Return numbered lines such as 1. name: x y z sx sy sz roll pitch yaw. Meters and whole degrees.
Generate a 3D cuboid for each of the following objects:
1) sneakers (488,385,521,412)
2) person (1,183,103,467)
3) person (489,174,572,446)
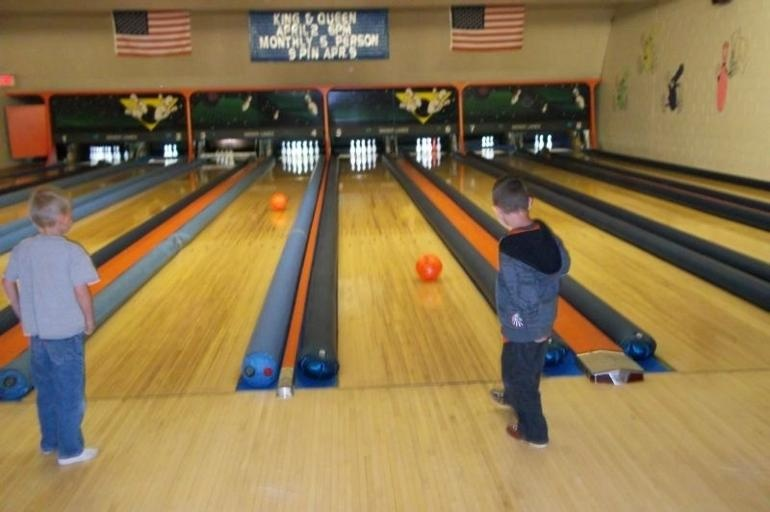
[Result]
1. sneakers: 0.459 0.539 1.918 0.046 0.058 0.140 -3 3 -13
2. person: -1.129 0.300 1.735 0.303 0.761 0.230 7 18 28
3. person: 0.531 0.177 1.798 0.263 0.892 0.363 -1 16 3
